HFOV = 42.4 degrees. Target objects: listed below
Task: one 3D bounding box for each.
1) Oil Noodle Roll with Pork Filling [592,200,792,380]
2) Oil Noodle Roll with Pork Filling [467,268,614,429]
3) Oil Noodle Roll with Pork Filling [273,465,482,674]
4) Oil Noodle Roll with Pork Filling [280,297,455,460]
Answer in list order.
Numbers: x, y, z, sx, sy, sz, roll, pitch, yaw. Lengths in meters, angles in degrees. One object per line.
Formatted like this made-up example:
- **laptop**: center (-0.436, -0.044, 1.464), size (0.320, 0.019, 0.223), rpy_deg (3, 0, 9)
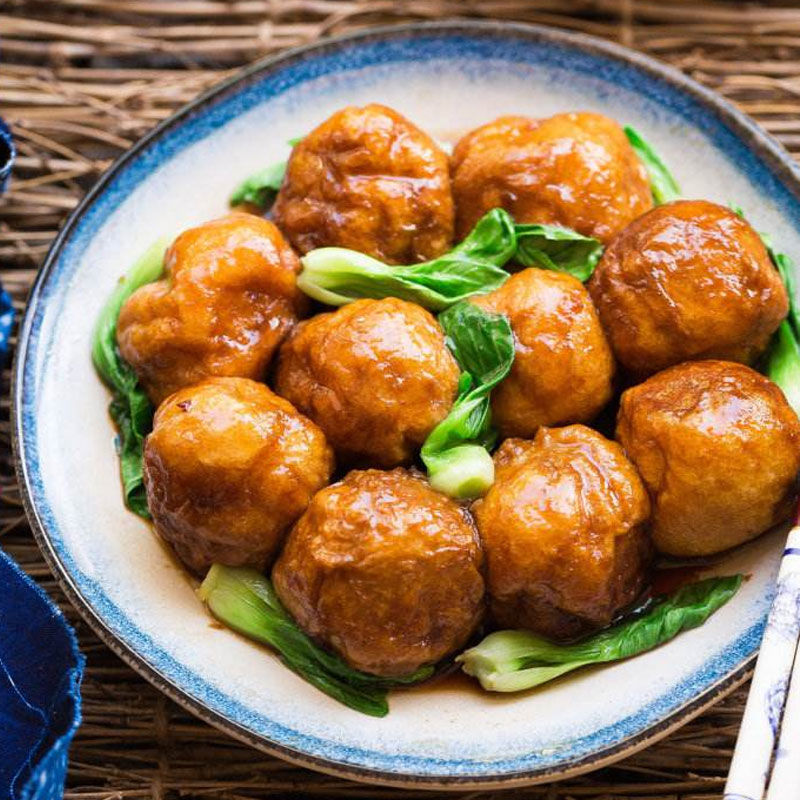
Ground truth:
- **Oil Noodle Roll with Pork Filling**: center (0.758, -0.302, 2.801), size (0.468, 0.339, 0.425), rpy_deg (-11, 57, -5)
- **Oil Noodle Roll with Pork Filling**: center (0.379, -0.152, 2.892), size (0.459, 0.390, 0.440), rpy_deg (-20, 34, -36)
- **Oil Noodle Roll with Pork Filling**: center (-0.040, 0.437, 2.682), size (0.537, 0.415, 0.520), rpy_deg (-1, 57, 2)
- **Oil Noodle Roll with Pork Filling**: center (-0.081, -0.039, 2.695), size (0.469, 0.292, 0.444), rpy_deg (-1, 24, 0)
